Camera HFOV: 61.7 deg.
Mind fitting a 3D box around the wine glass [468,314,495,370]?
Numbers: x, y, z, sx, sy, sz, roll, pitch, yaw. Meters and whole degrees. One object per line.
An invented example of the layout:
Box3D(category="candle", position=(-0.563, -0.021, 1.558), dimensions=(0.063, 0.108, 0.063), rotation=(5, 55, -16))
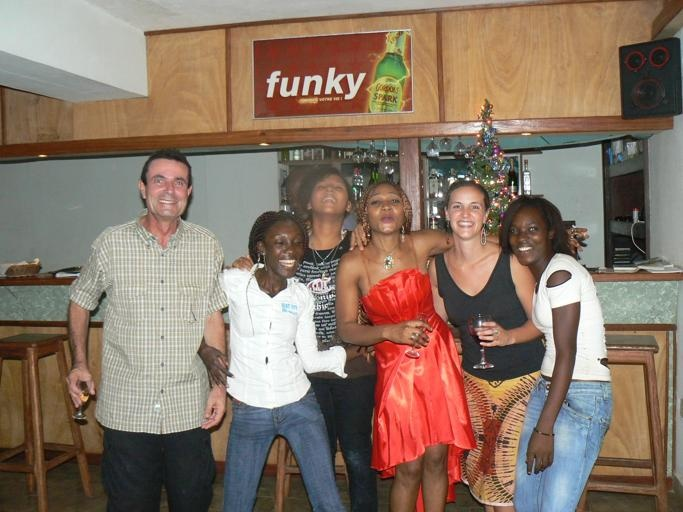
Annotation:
Box3D(category="wine glass", position=(0.827, 0.519, 3.358), dimensions=(0.119, 0.353, 0.189), rotation=(1, 5, 23))

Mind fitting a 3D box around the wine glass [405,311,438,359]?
Box3D(category="wine glass", position=(0.467, 0.484, 3.422), dimensions=(0.166, 0.255, 0.336), rotation=(0, 5, 9))

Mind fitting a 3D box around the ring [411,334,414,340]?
Box3D(category="ring", position=(0.400, 0.464, 3.228), dimensions=(0.030, 0.028, 0.007), rotation=(6, -3, 17))

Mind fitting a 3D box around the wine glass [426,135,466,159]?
Box3D(category="wine glass", position=(0.928, -0.976, 5.087), dimensions=(0.236, 0.194, 0.092), rotation=(1, -12, 1))

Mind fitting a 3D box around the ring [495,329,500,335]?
Box3D(category="ring", position=(0.904, 0.441, 3.306), dimensions=(0.030, 0.029, 0.029), rotation=(0, 5, 0))

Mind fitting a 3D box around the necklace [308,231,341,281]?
Box3D(category="necklace", position=(-0.115, 0.015, 3.727), dimensions=(0.287, 0.270, 0.086), rotation=(3, -12, -4))

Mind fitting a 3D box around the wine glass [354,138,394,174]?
Box3D(category="wine glass", position=(0.304, -0.928, 5.284), dimensions=(0.354, 0.297, 0.139), rotation=(2, -6, -21))
